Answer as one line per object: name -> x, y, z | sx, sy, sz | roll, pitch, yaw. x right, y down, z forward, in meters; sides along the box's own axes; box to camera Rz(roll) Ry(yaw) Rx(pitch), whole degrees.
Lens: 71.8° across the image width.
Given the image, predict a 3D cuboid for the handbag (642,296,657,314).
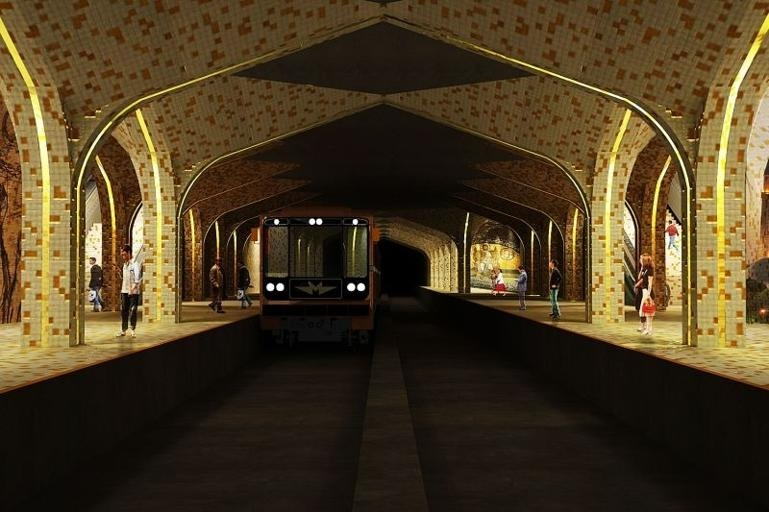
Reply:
handbag -> 5.669, 1.081, 11.397 | 0.389, 0.364, 0.195 | 2, -4, -34
